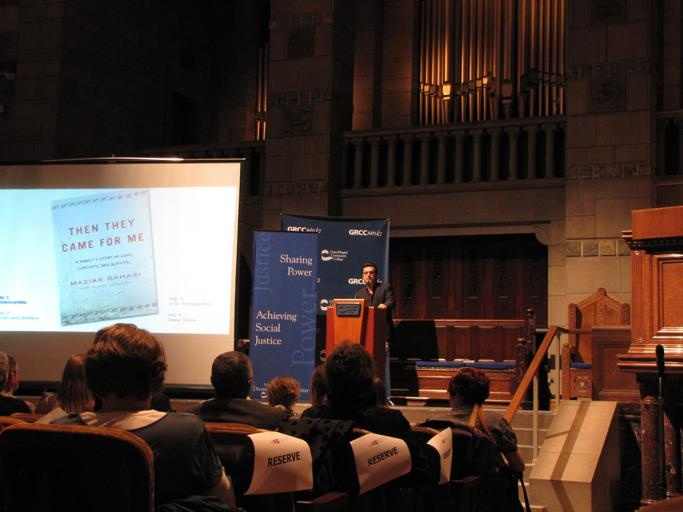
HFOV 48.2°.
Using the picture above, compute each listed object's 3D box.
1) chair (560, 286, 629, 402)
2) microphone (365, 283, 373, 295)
[{"bbox_3d":[3.099,1.133,9.219,0.752,1.327,0.750,1,2,21],"label":"chair"},{"bbox_3d":[0.333,0.398,8.920,0.084,0.088,0.118,1,-8,-3],"label":"microphone"}]
